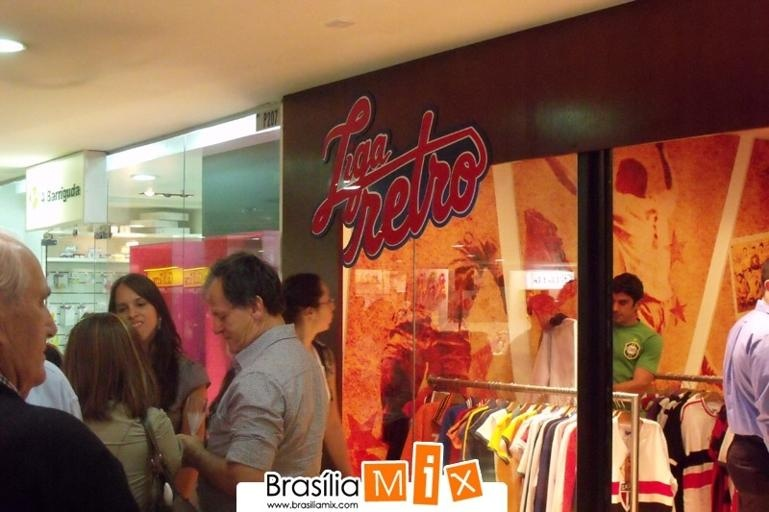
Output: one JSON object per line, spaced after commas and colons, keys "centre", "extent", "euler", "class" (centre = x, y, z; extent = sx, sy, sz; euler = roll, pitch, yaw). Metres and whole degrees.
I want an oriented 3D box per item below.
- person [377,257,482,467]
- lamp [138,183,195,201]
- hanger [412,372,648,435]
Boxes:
{"centre": [0.254, 0.831, 4.532], "extent": [0.564, 1.339, 0.176], "euler": [4, 14, 5], "class": "person"}
{"centre": [-2.084, -0.648, 6.183], "extent": [0.697, 0.213, 0.120], "euler": [5, 30, 26], "class": "lamp"}
{"centre": [0.914, 0.919, 4.147], "extent": [1.381, 0.253, 0.466], "euler": [-3, -6, 18], "class": "hanger"}
